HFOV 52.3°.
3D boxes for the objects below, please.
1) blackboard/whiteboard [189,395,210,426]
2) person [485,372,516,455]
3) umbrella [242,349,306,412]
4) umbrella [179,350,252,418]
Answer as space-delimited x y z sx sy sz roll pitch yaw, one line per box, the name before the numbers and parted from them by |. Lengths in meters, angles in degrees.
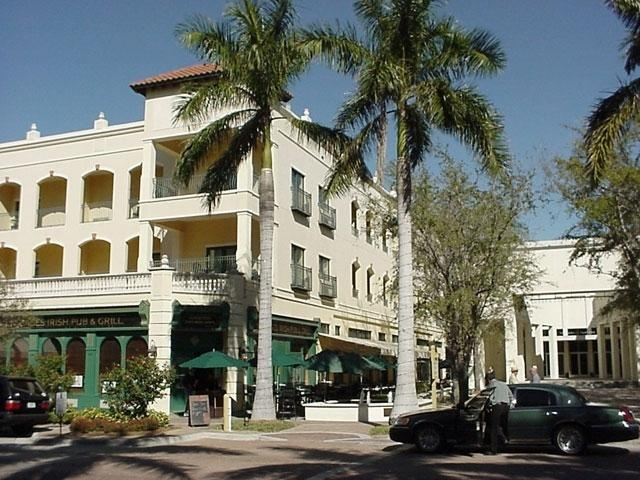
blackboard/whiteboard | -4.387 6.256 23.736 0.395 1.237 0.901 -17 -20 39
person | 4.803 4.729 17.442 0.756 1.907 0.764 -4 -16 13
umbrella | -2.013 6.341 29.411 2.770 2.940 3.035 1 4 11
umbrella | -4.542 6.109 27.572 2.900 2.255 3.002 2 -1 -19
